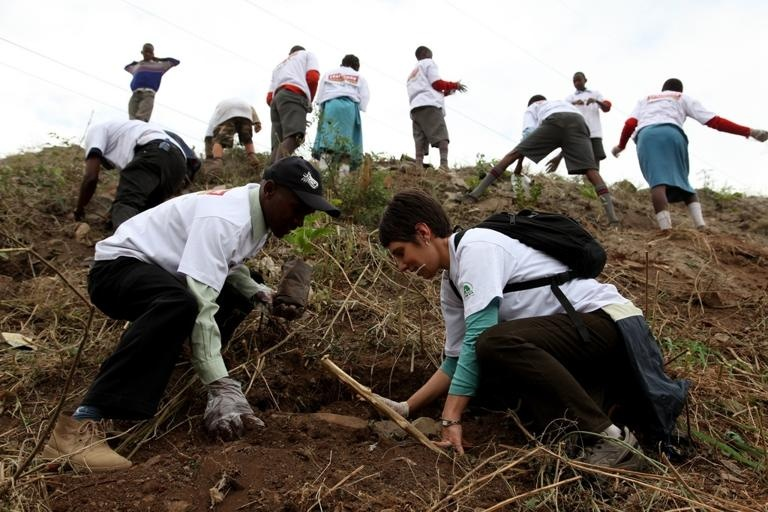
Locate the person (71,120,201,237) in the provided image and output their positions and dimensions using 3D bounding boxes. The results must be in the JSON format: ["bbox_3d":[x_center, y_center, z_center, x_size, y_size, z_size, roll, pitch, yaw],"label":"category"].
[{"bbox_3d":[-2.263,-0.650,4.534,1.003,0.641,1.272,-14,32,6],"label":"person"}]

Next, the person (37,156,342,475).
[{"bbox_3d":[-1.215,0.244,3.126,1.367,1.791,0.763,3,7,-13],"label":"person"}]

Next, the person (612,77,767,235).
[{"bbox_3d":[3.534,-1.250,6.258,0.814,1.861,1.237,1,7,-28],"label":"person"}]

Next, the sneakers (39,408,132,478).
[{"bbox_3d":[-1.593,1.044,2.866,0.579,0.226,0.217,8,-7,6],"label":"sneakers"}]

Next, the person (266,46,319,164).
[{"bbox_3d":[-1.140,-1.897,6.268,0.623,1.501,0.980,3,7,-14],"label":"person"}]

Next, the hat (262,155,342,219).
[{"bbox_3d":[-0.566,-0.494,3.392,0.544,0.251,0.324,20,7,0],"label":"hat"}]

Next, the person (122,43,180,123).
[{"bbox_3d":[-3.139,-2.219,6.624,0.576,1.003,0.525,3,7,-14],"label":"person"}]

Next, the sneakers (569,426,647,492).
[{"bbox_3d":[1.221,1.080,2.849,0.541,0.237,0.167,-8,-5,-19],"label":"sneakers"}]

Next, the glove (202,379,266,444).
[{"bbox_3d":[-0.927,0.909,3.074,0.355,0.334,0.175,7,7,25],"label":"glove"}]
